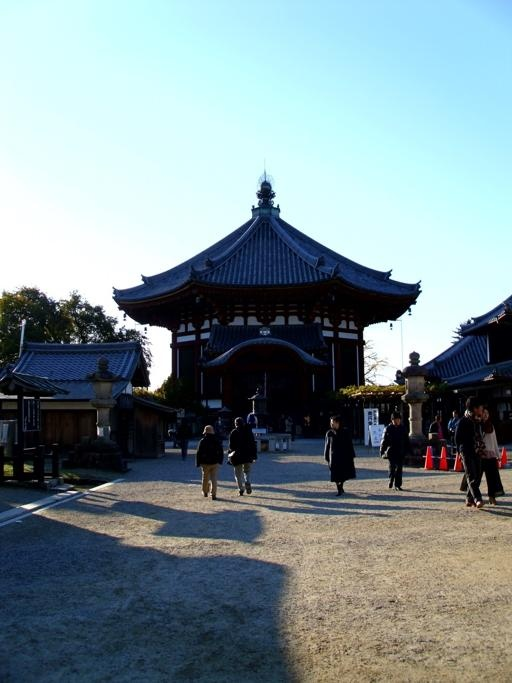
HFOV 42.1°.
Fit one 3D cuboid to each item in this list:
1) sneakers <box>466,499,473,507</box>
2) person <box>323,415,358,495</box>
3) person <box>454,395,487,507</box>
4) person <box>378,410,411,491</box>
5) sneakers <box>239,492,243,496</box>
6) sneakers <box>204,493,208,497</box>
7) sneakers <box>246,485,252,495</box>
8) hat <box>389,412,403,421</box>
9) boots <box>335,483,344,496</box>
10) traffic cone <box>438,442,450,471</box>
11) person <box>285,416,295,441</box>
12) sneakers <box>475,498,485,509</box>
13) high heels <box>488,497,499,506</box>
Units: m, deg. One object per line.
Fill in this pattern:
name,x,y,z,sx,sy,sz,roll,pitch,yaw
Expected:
sneakers,3.528,2.679,10.978,0.117,0.082,0.161,-1,-10,16
person,1.695,2.345,13.802,0.591,1.596,0.767,-3,-10,28
person,3.572,1.831,11.199,0.437,1.824,0.859,-1,-9,18
person,3.031,2.377,14.524,0.573,1.651,1.126,-1,-9,12
sneakers,-0.299,3.148,13.810,0.090,0.072,0.293,2,-9,-3
sneakers,-1.021,3.142,13.604,0.070,0.131,0.071,2,-27,-5
sneakers,-0.159,3.076,13.853,0.075,0.206,0.087,-4,5,3
hat,3.101,1.672,14.723,0.217,0.245,0.263,1,-7,-2
boots,1.702,2.996,13.515,0.160,0.290,0.267,0,5,1
traffic cone,5.524,3.429,19.630,0.267,0.728,1.126,-1,-9,16
person,1.894,4.786,37.601,0.542,1.093,1.413,1,-9,3
sneakers,3.577,2.600,10.664,0.121,0.144,0.319,-2,-10,19
high heels,3.962,2.658,11.121,0.085,0.114,0.282,2,10,8
